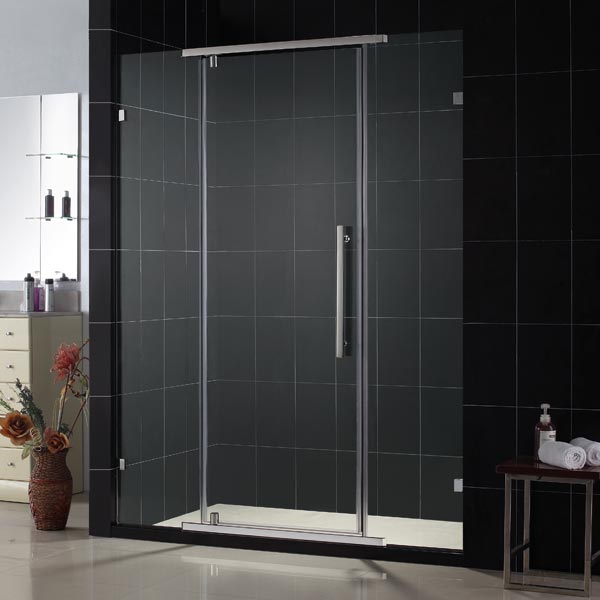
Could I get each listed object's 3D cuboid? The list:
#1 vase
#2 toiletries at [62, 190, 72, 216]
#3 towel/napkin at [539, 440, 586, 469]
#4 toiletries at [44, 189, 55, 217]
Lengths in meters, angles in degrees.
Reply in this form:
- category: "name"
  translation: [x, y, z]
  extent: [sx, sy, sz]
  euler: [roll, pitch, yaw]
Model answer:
- category: "vase"
  translation: [-1.217, 0.912, 3.431]
  extent: [0.187, 0.390, 0.155]
  euler: [-1, -1, -25]
- category: "toiletries"
  translation: [-1.394, -0.565, 4.193]
  extent: [0.059, 0.166, 0.024]
  euler: [-2, -1, 18]
- category: "towel/napkin"
  translation: [0.944, 0.535, 2.575]
  extent: [0.097, 0.106, 0.162]
  euler: [-3, 6, -17]
- category: "toiletries"
  translation: [-1.512, -0.575, 4.231]
  extent: [0.074, 0.188, 0.034]
  euler: [-2, -1, 34]
